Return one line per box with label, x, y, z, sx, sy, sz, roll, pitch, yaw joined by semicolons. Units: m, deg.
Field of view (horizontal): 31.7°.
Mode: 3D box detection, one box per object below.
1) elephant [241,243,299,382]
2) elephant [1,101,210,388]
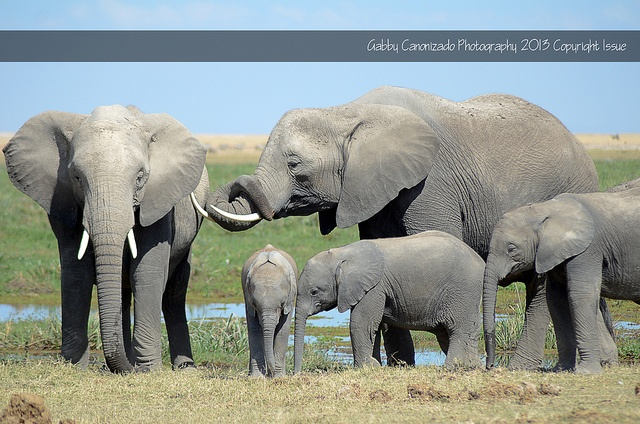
elephant;-0.690;1.394;16.142;0.777;1.876;0.643;-3;-6;-3
elephant;-2.694;0.432;16.988;2.304;3.890;3.272;-8;-7;39
